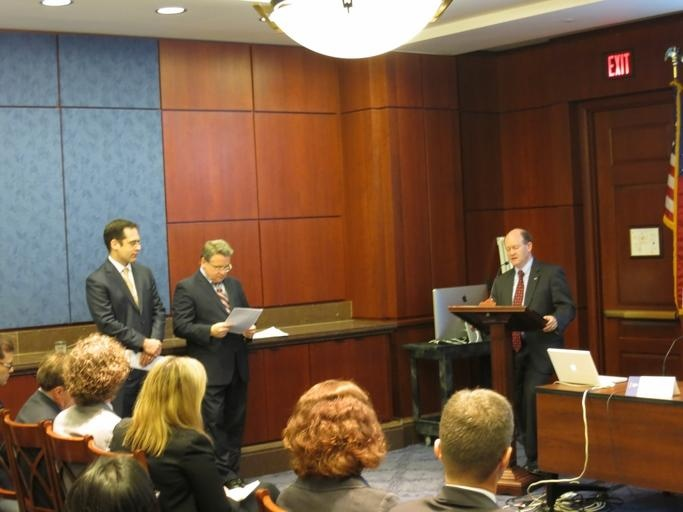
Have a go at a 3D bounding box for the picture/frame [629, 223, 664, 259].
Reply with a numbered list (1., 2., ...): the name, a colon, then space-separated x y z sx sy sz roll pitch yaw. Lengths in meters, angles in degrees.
1. picture/frame: 3.020 -0.137 5.959 0.045 0.356 0.323 0 0 -43

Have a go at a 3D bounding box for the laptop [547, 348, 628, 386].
1. laptop: 1.655 0.758 4.157 0.342 0.233 0.335 -1 0 -41

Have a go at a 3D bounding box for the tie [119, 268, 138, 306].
1. tie: -1.658 0.227 4.707 0.062 0.421 0.047 -26 -20 25

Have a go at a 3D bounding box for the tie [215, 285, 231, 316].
1. tie: -0.966 0.368 4.951 0.055 0.218 0.156 -20 3 1
